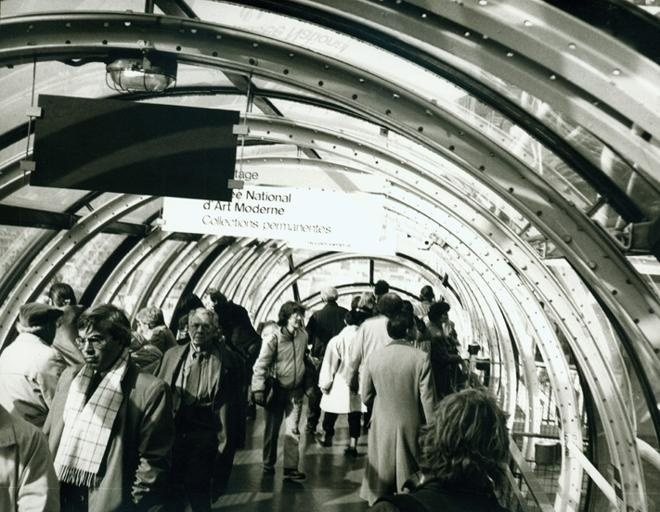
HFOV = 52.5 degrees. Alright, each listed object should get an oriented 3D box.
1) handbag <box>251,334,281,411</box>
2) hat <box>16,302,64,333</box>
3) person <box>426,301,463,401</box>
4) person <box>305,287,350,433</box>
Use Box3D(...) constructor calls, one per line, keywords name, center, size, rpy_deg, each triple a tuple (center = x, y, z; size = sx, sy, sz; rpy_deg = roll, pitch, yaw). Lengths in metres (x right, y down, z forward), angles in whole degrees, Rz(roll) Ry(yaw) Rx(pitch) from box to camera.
Box3D(name="handbag", center=(-0.919, 1.603, 9.690), size=(0.275, 0.912, 0.445), rpy_deg=(18, -11, -27))
Box3D(name="hat", center=(-3.658, 0.744, 8.511), size=(0.308, 0.472, 0.211), rpy_deg=(6, -63, 9))
Box3D(name="person", center=(1.712, 1.442, 10.143), size=(0.446, 1.756, 0.565), rpy_deg=(-7, -34, 0))
Box3D(name="person", center=(-0.092, 1.514, 12.205), size=(0.652, 0.589, 2.387), rpy_deg=(2, -53, -5))
